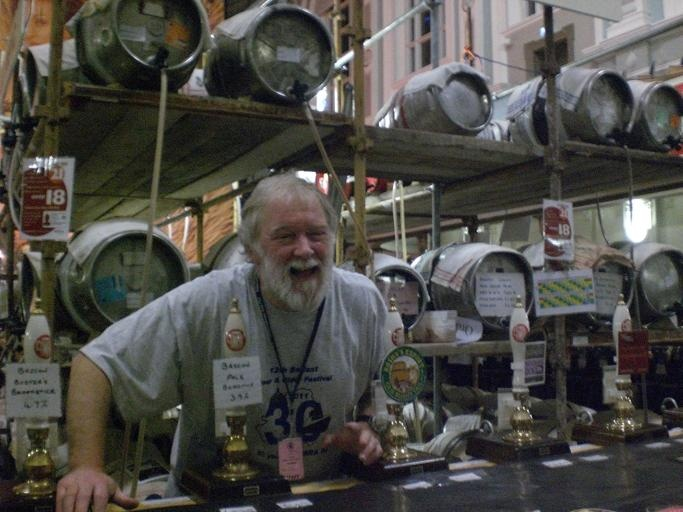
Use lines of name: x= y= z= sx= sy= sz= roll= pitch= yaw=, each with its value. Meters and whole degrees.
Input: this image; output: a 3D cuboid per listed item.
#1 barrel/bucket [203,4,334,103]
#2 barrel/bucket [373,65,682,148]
barrel/bucket: x=-0.555 y=-1.335 z=6.245 sx=0.605 sy=0.630 sz=0.789 roll=-30 pitch=15 yaw=-25
barrel/bucket: x=1.542 y=-1.086 z=7.278 sx=2.449 sy=0.746 sz=1.150 roll=-1 pitch=-8 yaw=-7
